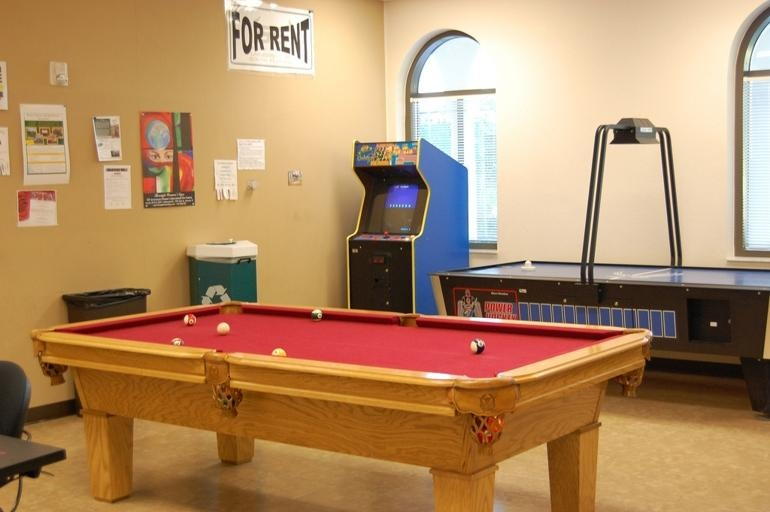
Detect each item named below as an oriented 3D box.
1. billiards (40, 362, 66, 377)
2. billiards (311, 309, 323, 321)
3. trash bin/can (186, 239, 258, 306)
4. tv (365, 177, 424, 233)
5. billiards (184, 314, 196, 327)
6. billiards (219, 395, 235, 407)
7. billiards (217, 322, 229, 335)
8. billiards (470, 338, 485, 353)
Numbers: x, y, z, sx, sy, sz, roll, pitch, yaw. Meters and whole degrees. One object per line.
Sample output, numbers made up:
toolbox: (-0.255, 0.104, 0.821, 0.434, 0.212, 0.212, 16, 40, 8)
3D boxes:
billiards: (-2.077, 0.711, 3.830, 0.115, 0.091, 0.124, 0, -5, -1)
billiards: (-0.459, 0.402, 4.179, 0.073, 0.069, 0.071, -3, -5, 1)
trash bin/can: (-1.632, 0.278, 6.226, 0.563, 0.837, 0.605, 2, 6, 29)
tv: (0.054, -0.625, 7.160, 0.872, 0.706, 0.305, 1, 18, -35)
billiards: (-1.326, 0.440, 4.197, 0.066, 0.075, 0.081, -1, -6, -2)
billiards: (-0.830, 0.767, 3.227, 0.056, 0.039, 0.055, -1, -7, 14)
billiards: (-1.015, 0.450, 3.890, 0.080, 0.077, 0.077, -5, -29, -33)
billiards: (0.502, 0.480, 3.287, 0.075, 0.071, 0.074, -6, 5, -22)
